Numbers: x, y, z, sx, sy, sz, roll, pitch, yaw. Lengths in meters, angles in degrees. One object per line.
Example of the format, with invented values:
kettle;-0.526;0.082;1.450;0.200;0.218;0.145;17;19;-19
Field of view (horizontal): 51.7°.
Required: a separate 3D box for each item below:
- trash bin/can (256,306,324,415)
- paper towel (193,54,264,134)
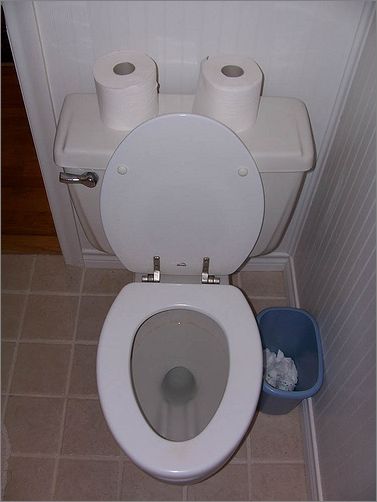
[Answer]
trash bin/can;0.265;0.287;1.019;0.140;0.230;0.221;-2;65;2
paper towel;0.068;-0.291;0.786;0.125;0.100;0.146;4;56;-4
